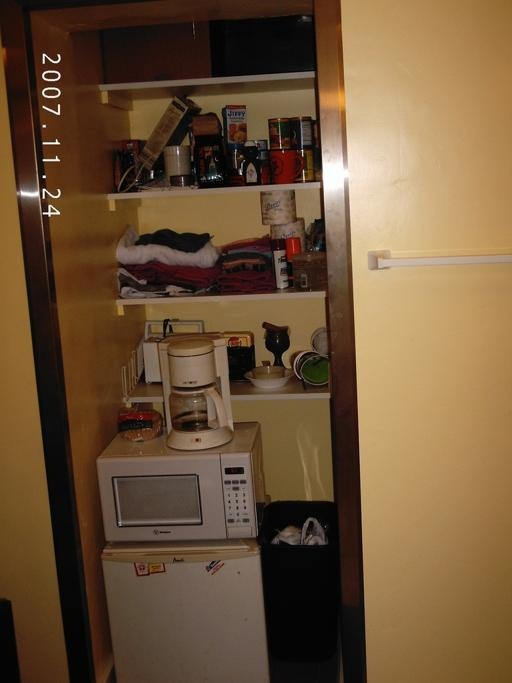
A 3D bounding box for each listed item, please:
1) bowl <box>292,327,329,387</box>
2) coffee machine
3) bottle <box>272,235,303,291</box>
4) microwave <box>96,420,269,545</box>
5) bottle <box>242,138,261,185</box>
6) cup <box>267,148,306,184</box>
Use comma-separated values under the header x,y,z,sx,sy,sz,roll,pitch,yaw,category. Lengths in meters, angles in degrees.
x,y,z,sx,sy,sz,roll,pitch,yaw,category
0.192,0.055,2.023,0.122,0.187,0.064,9,5,-21,bowl
-0.172,0.156,1.766,0.243,0.396,0.304,-1,9,1,coffee machine
0.111,-0.259,1.952,0.107,0.169,0.091,-6,10,-6,bottle
-0.223,0.447,1.720,0.428,0.293,0.313,-1,4,5,microwave
-0.017,-0.564,1.886,0.059,0.118,0.020,-5,10,1,bottle
0.095,-0.553,1.862,0.076,0.113,0.118,-18,25,-31,cup
